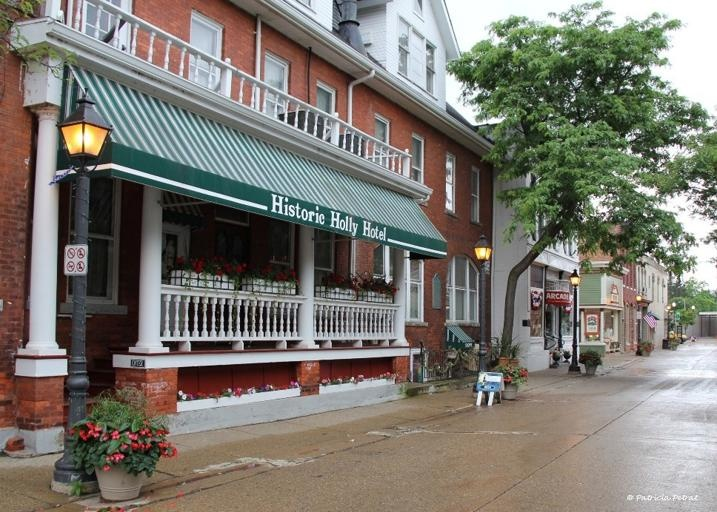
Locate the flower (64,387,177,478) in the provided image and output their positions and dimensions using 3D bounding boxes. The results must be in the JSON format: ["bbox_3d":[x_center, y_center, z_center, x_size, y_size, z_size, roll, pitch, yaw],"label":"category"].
[{"bbox_3d":[-3.698,2.924,10.535,1.169,0.903,1.219,-8,-30,19],"label":"flower"}]

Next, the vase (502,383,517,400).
[{"bbox_3d":[4.968,4.390,20.871,0.454,0.376,0.477,-5,-8,29],"label":"vase"}]

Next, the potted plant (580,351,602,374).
[{"bbox_3d":[10.985,5.016,30.324,0.972,1.055,1.005,2,-9,-7],"label":"potted plant"}]

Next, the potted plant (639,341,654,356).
[{"bbox_3d":[21.775,6.921,48.222,1.177,1.450,1.125,-3,-5,34],"label":"potted plant"}]

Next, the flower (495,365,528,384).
[{"bbox_3d":[5.062,3.842,20.771,0.629,0.389,0.663,1,-1,14],"label":"flower"}]

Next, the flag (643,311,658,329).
[{"bbox_3d":[30.343,6.607,66.579,0.214,2.192,1.897,-18,17,8],"label":"flag"}]
